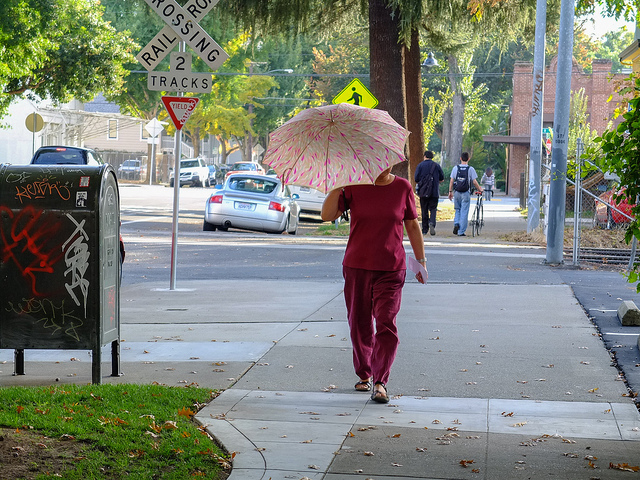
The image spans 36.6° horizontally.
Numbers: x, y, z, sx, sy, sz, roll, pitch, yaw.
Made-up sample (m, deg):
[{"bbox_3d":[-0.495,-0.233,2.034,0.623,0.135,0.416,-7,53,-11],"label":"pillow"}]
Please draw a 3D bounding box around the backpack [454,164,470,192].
[{"bbox_3d":[3.447,-1.479,23.499,0.384,0.613,0.288,4,8,24],"label":"backpack"}]

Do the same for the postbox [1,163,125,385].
[{"bbox_3d":[-2.646,0.315,9.475,1.116,2.114,0.466,1,8,8],"label":"postbox"}]

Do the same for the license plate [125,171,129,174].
[{"bbox_3d":[-14.752,-4.998,71.360,0.189,0.173,0.044,2,6,3],"label":"license plate"}]

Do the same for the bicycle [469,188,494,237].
[{"bbox_3d":[4.085,-0.587,25.126,0.502,0.934,1.700,-8,-11,7],"label":"bicycle"}]

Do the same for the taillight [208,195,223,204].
[{"bbox_3d":[-2.631,-0.974,23.203,0.486,0.233,0.080,7,10,43],"label":"taillight"}]

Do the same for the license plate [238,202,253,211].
[{"bbox_3d":[-1.879,-0.794,23.018,0.352,0.188,0.068,0,8,-1],"label":"license plate"}]

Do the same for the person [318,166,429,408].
[{"bbox_3d":[0.544,0.372,9.625,1.003,2.220,1.449,2,8,11],"label":"person"}]

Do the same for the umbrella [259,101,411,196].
[{"bbox_3d":[0.138,-0.877,9.219,1.362,0.805,0.506,0,8,1],"label":"umbrella"}]

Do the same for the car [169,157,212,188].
[{"bbox_3d":[-8.197,-4.123,59.786,0.878,1.777,3.663,3,8,18],"label":"car"}]

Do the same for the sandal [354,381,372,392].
[{"bbox_3d":[0.412,1.439,9.517,0.170,0.094,0.115,1,8,2],"label":"sandal"}]

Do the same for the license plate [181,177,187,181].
[{"bbox_3d":[-8.602,-3.696,58.831,0.228,0.208,0.054,3,12,10],"label":"license plate"}]

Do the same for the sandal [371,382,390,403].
[{"bbox_3d":[0.568,1.443,9.290,0.179,0.156,0.358,1,8,3],"label":"sandal"}]
